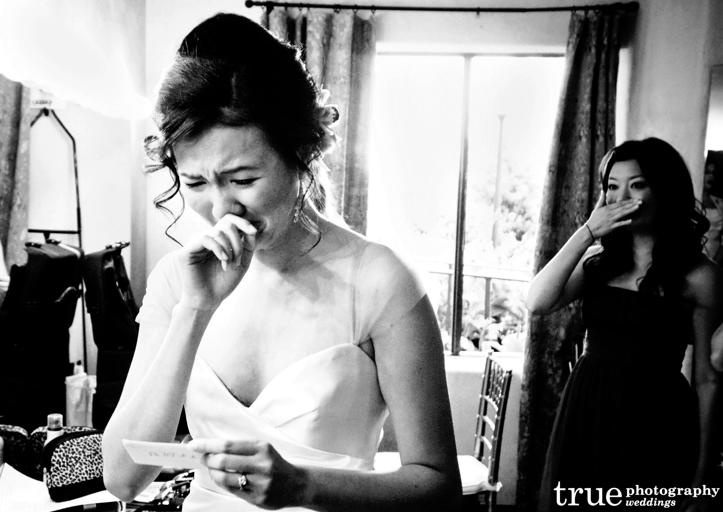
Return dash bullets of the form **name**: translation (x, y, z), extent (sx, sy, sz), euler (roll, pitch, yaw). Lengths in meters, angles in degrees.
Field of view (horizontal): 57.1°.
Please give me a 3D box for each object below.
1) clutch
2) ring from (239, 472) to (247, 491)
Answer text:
- **clutch**: translation (-0.925, 0.652, 2.062), extent (0.100, 0.190, 0.206), euler (4, -4, 22)
- **ring**: translation (-0.267, 0.509, 1.479), extent (0.021, 0.037, 0.007), euler (3, 0, -16)
